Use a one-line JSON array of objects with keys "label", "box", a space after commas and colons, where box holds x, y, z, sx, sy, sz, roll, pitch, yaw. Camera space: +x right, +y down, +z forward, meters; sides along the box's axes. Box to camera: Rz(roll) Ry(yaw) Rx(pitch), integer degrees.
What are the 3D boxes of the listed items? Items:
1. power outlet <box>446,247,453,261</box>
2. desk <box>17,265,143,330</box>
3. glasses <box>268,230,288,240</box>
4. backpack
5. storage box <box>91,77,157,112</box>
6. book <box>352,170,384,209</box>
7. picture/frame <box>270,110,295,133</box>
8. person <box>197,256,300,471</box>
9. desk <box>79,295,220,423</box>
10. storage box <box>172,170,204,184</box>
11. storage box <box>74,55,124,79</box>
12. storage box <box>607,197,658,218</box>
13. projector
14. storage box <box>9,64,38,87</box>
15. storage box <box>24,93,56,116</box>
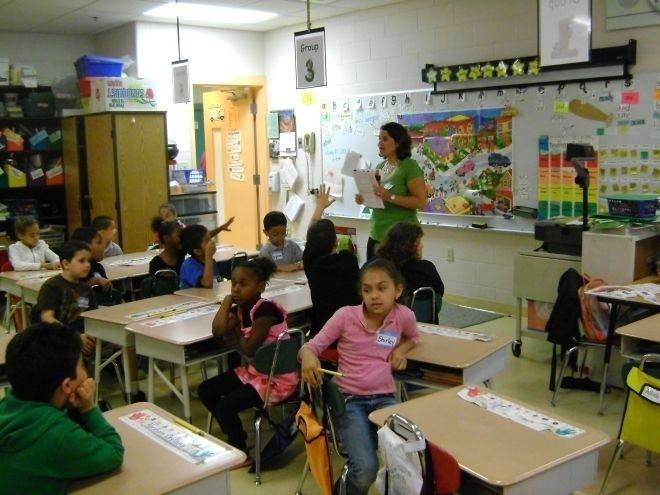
[{"label": "power outlet", "box": [1.417, 0.089, 6.097, 0.116, 0.164, 0.028, 6, 13, 44]}, {"label": "desk", "box": [-2.113, 0.531, 4.643, 0.522, 0.466, 0.963, 4, 8, 28]}, {"label": "glasses", "box": [-0.445, -0.112, 4.485, 0.111, 0.139, 0.104, -17, 18, -38]}, {"label": "backpack", "box": [1.862, 0.424, 3.540, 0.301, 0.379, 0.160, -4, 10, -37]}, {"label": "storage box", "box": [-2.732, -1.996, 6.792, 0.841, 0.455, 0.473, -5, 10, -17]}, {"label": "book", "box": [0.317, -0.470, 4.256, 0.239, 0.321, 0.095, 18, 38, 40]}, {"label": "picture/frame", "box": [-0.695, -1.893, 7.740, 0.344, 0.255, 0.048, 12, 18, 41]}, {"label": "person", "box": [-0.493, 0.679, 3.127, 0.641, 1.203, 0.502, 1, 1, -14]}, {"label": "desk", "box": [-1.090, 0.644, 3.482, 0.912, 0.586, 0.826, 14, 17, 35]}, {"label": "storage box", "box": [-2.024, -1.012, 7.371, 0.432, 0.205, 0.210, -5, 9, -16]}, {"label": "storage box", "box": [-3.040, -2.298, 6.841, 0.488, 0.220, 0.383, -8, 13, -43]}, {"label": "storage box", "box": [2.320, -0.313, 3.980, 0.196, 0.115, 0.252, -6, 7, -41]}, {"label": "projector", "box": [2.020, -0.435, 4.462, 0.429, 0.919, 0.931, 2, 10, 25]}, {"label": "storage box", "box": [-4.208, -2.340, 7.071, 0.198, 0.347, 0.368, 15, 14, 37]}, {"label": "storage box", "box": [-4.012, -1.977, 7.158, 0.373, 0.361, 0.354, -3, 7, -37]}]
